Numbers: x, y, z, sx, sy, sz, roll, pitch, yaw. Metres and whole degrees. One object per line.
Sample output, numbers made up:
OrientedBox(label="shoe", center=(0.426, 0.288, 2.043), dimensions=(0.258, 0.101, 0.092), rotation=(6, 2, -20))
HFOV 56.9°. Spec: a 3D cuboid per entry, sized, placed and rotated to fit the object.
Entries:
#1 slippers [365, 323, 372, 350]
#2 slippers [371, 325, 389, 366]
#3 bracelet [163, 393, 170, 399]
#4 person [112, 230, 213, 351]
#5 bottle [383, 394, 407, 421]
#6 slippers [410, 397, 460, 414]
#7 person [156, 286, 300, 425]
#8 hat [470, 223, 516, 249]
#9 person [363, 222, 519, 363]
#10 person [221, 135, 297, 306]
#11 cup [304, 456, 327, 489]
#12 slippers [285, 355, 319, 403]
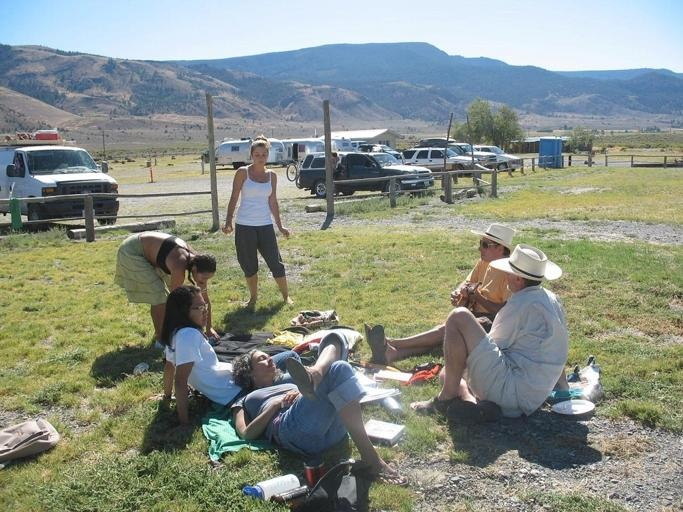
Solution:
OrientedBox(label="slippers", center=(0.321, 0.944, 7.454), dimensions=(0.080, 0.291, 0.115), rotation=(-8, 0, -1))
OrientedBox(label="slippers", center=(0.447, 1.036, 7.505), dimensions=(0.170, 0.508, 0.188), rotation=(1, -4, -19))
OrientedBox(label="bracelet", center=(-1.816, 1.464, 6.577), dimensions=(0.067, 0.017, 0.071), rotation=(5, 9, 14))
OrientedBox(label="person", center=(-2.164, 0.348, 7.731), dimensions=(1.315, 1.184, 0.741), rotation=(13, 12, 18))
OrientedBox(label="bottle", center=(0.531, 1.525, 6.362), dimensions=(0.208, 0.197, 0.219), rotation=(17, 0, -19))
OrientedBox(label="slippers", center=(0.929, 1.483, 6.350), dimensions=(0.444, 0.198, 0.174), rotation=(2, 6, 15))
OrientedBox(label="person", center=(-1.220, 0.746, 6.778), dimensions=(1.475, 1.621, 0.849), rotation=(-18, 25, -30))
OrientedBox(label="hat", center=(2.189, -0.289, 9.209), dimensions=(0.640, 0.247, 0.572), rotation=(24, 2, -1))
OrientedBox(label="person", center=(1.300, 0.444, 7.479), dimensions=(2.099, 1.515, 0.876), rotation=(-12, 14, -20))
OrientedBox(label="person", center=(-1.261, -0.524, 9.432), dimensions=(0.922, 2.527, 0.939), rotation=(-5, 8, -22))
OrientedBox(label="cup", center=(-0.219, 1.889, 5.511), dimensions=(0.182, 0.298, 0.192), rotation=(5, -13, 1))
OrientedBox(label="slippers", center=(-0.298, 1.016, 5.493), dimensions=(0.139, 0.254, 0.369), rotation=(-10, 22, 10))
